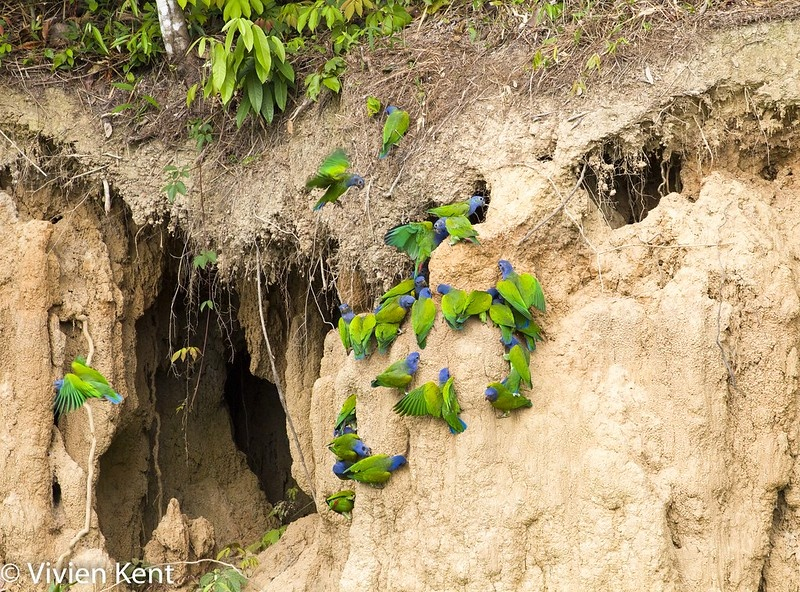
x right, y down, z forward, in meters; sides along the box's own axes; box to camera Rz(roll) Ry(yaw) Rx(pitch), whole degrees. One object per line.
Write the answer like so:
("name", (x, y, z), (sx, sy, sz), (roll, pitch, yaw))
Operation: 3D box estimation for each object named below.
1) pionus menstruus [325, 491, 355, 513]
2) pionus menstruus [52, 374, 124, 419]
("pionus menstruus", (-0.438, 1.579, 15.455), (0.209, 0.210, 0.315), (-4, 8, -2))
("pionus menstruus", (-2.377, 0.701, 15.952), (0.615, 0.371, 0.206), (-1, 16, 45))
